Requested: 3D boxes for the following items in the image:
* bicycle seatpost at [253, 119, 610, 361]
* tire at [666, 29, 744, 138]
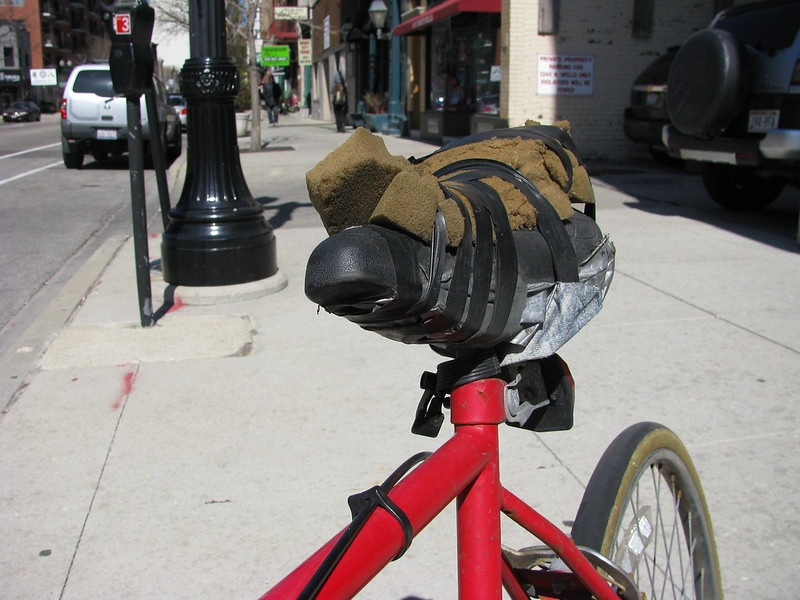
[{"bbox_3d":[0.129,-0.197,2.122,0.790,0.427,0.596,-13,26,-33],"label":"bicycle seatpost"},{"bbox_3d":[3.150,-2.214,8.004,0.752,0.983,0.377,8,22,23],"label":"tire"}]
